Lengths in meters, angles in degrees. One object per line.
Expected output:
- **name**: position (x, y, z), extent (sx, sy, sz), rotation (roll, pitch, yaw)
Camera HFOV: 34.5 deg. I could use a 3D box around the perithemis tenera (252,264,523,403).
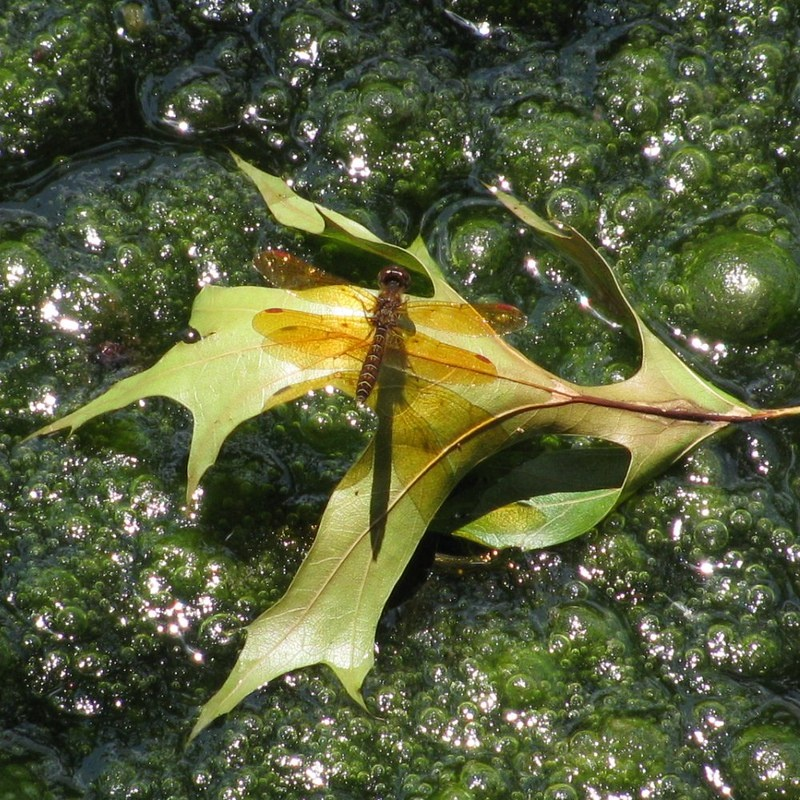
- **perithemis tenera**: position (-0.077, -0.168, 2.772), extent (0.583, 0.097, 0.316), rotation (12, 62, -4)
